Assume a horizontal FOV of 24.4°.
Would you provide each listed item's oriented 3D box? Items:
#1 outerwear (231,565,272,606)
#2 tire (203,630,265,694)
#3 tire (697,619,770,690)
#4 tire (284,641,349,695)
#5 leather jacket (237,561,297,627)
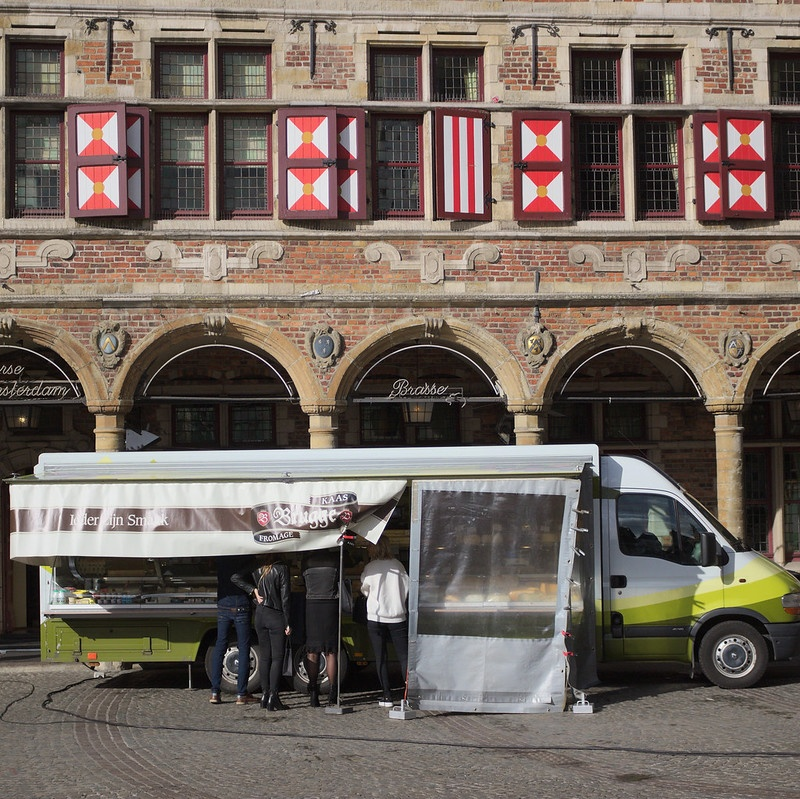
[{"bbox_3d":[-1.522,1.896,19.123,0.399,0.370,0.151,11,-24,13],"label":"outerwear"},{"bbox_3d":[-1.723,2.737,19.426,0.626,0.698,0.235,3,-11,1],"label":"tire"},{"bbox_3d":[3.578,2.680,19.742,0.632,0.704,0.236,-1,-7,-1],"label":"tire"},{"bbox_3d":[-0.875,2.765,19.321,0.588,0.655,0.226,2,-7,-4],"label":"tire"},{"bbox_3d":[-1.407,2.001,19.099,0.621,0.852,0.315,1,7,29],"label":"leather jacket"}]
